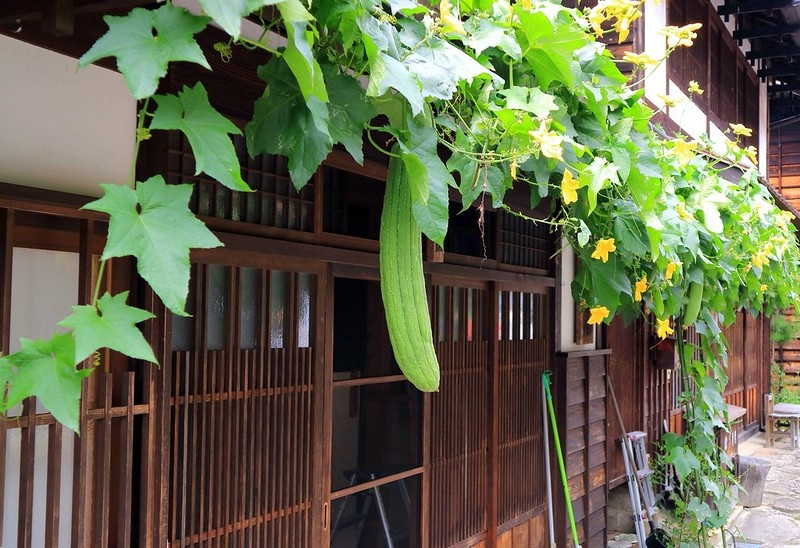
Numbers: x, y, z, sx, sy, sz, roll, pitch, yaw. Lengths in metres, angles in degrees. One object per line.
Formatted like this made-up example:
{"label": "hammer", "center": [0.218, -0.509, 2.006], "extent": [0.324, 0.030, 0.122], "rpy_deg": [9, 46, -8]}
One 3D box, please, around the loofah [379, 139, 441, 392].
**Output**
{"label": "loofah", "center": [0.023, 0.001, 1.973], "extent": [0.137, 0.724, 0.167], "rpy_deg": [-5, -7, 27]}
